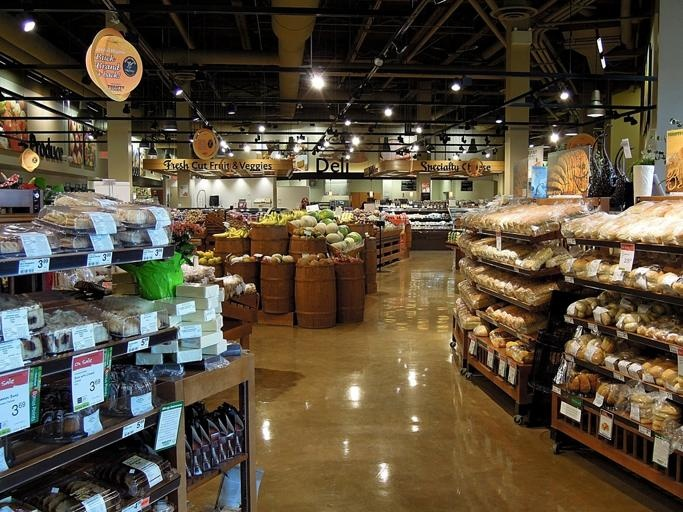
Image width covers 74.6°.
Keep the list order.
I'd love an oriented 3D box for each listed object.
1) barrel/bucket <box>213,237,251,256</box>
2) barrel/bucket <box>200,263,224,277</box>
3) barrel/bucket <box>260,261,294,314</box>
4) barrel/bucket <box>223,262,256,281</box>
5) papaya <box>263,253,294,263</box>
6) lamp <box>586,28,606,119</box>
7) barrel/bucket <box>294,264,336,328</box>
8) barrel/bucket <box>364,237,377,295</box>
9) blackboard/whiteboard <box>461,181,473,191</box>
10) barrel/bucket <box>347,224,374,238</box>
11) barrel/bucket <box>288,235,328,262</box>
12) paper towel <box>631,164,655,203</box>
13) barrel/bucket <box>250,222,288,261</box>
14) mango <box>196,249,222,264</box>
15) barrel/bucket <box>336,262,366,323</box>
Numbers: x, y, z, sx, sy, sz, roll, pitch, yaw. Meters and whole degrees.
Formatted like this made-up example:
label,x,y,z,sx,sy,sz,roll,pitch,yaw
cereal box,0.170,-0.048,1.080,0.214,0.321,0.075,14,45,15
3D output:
label,x,y,z,sx,sy,sz,roll,pitch,yaw
barrel/bucket,-2.002,-0.161,8.192,0.448,0.367,0.413,0,-3,0
barrel/bucket,-1.614,0.173,5.584,0.323,0.169,0.298,0,-3,0
barrel/bucket,-1.056,0.514,7.495,0.561,0.951,0.245,-1,7,-8
barrel/bucket,-1.680,0.257,7.539,0.403,0.328,0.374,1,2,0
papaya,-1.061,0.047,7.433,0.509,0.136,0.247,1,7,12
lamp,6.127,-4.397,10.814,0.426,1.773,0.409,-13,15,-41
barrel/bucket,-0.419,0.631,7.242,0.640,1.133,0.342,-1,7,-5
barrel/bucket,0.671,0.223,10.335,0.236,1.303,0.432,2,7,13
blackboard/whiteboard,7.887,-4.412,28.358,0.713,0.556,0.321,0,5,4
barrel/bucket,0.474,-0.606,10.361,0.611,0.302,0.383,10,-5,7
barrel/bucket,-0.536,-0.100,7.388,0.479,0.407,0.455,0,-5,0
paper towel,2.657,-0.657,3.994,0.212,0.291,0.195,-1,15,25
barrel/bucket,-1.262,-0.191,8.022,0.717,0.673,0.743,-1,9,0
mango,-2.124,0.028,7.231,0.249,0.122,0.320,1,8,-28
barrel/bucket,0.232,0.604,7.569,0.526,0.954,0.545,2,8,0
